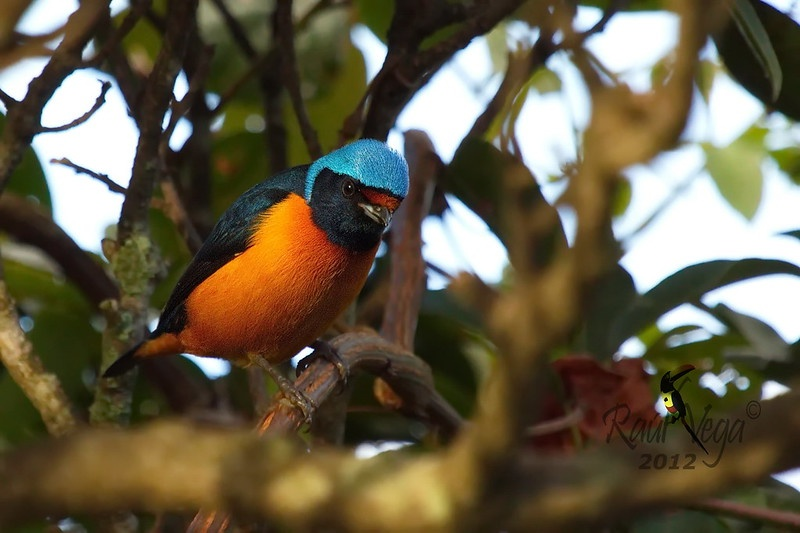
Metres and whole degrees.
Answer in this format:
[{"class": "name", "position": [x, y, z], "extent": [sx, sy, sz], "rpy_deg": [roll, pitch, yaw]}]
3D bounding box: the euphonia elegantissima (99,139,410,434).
[{"class": "euphonia elegantissima", "position": [-0.425, -0.019, 3.789], "extent": [1.157, 0.985, 0.619], "rpy_deg": [0, -4, 10]}]
